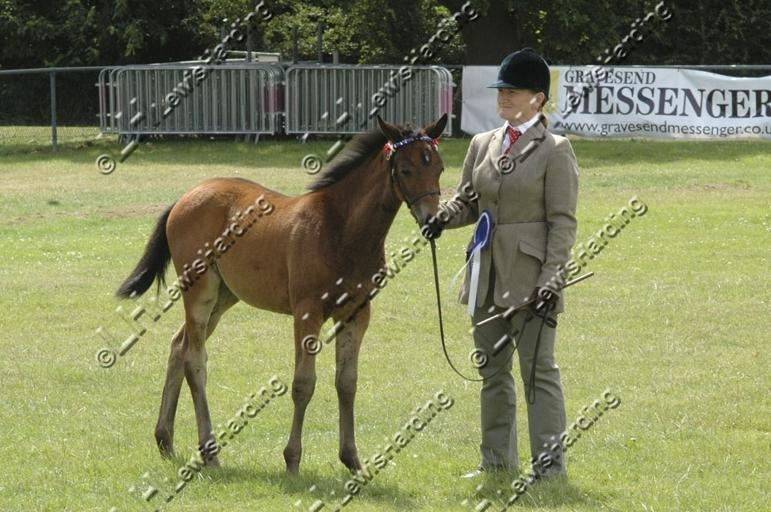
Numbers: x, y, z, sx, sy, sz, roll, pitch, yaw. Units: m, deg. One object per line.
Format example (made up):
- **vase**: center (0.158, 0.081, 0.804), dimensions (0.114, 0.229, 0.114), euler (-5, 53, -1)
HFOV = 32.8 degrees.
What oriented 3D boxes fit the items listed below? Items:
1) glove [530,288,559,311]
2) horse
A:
- **glove**: center (2.506, 0.689, 20.513), dimensions (0.403, 0.350, 0.336), euler (-5, -3, 33)
- **horse**: center (-1.710, 0.721, 21.875), dimensions (6.759, 5.830, 1.644), euler (1, 0, 37)
